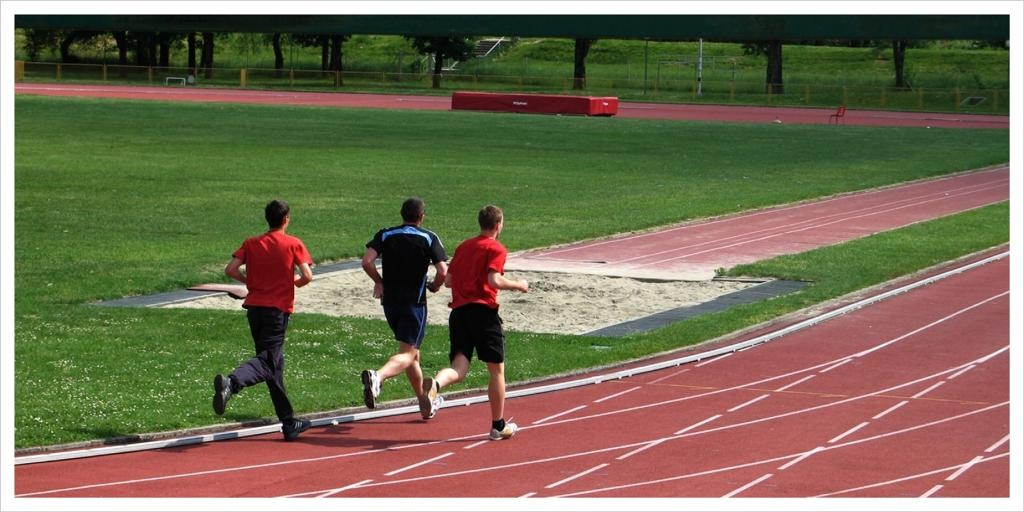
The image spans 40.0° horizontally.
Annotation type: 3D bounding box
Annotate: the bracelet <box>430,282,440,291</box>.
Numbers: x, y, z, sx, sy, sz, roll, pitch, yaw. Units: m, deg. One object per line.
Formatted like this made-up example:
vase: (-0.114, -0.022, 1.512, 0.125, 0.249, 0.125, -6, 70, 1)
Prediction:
bracelet: (-2.099, 0.841, 38.328, 0.219, 0.194, 0.248, 24, 20, -33)
